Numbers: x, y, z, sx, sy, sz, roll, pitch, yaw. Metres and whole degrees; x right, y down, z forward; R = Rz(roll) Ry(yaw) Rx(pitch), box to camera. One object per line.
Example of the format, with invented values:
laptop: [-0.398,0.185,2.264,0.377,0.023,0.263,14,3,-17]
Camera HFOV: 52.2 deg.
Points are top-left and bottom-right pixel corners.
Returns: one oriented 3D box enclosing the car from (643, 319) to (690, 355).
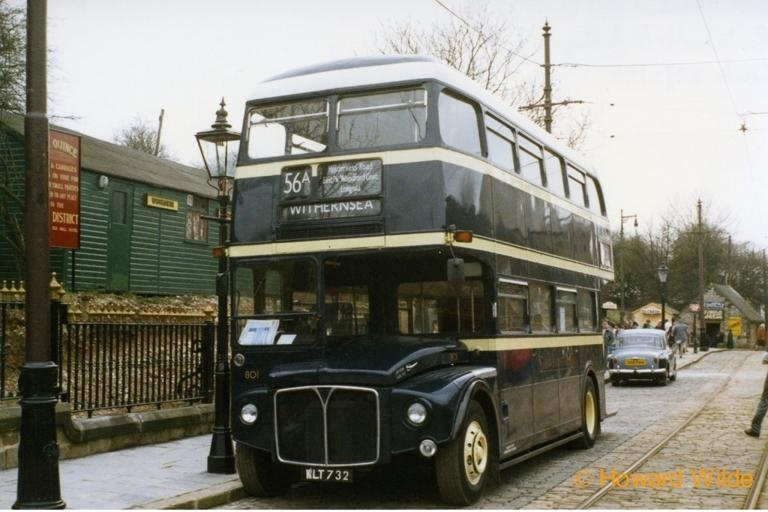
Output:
car: [16.014,4.573,44.221,1.175,1.876,3.647,-17,10,42]
